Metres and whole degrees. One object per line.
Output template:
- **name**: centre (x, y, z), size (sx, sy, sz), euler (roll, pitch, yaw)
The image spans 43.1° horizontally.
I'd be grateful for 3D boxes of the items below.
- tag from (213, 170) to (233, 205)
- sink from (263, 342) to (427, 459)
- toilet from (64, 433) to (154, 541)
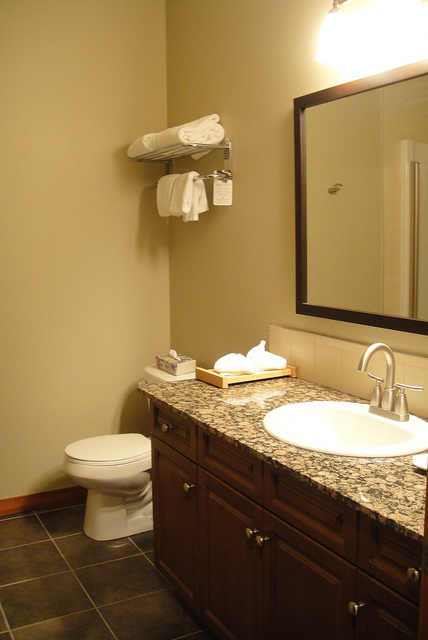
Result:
- **tag**: centre (0.040, -0.573, 2.313), size (0.079, 0.160, 0.141), euler (-3, 6, 4)
- **sink**: centre (0.386, 0.261, 1.465), size (0.310, 0.244, 0.345), euler (-3, 6, -28)
- **toilet**: centre (-0.465, 0.769, 2.452), size (0.386, 0.423, 0.363), euler (-5, 7, -16)
